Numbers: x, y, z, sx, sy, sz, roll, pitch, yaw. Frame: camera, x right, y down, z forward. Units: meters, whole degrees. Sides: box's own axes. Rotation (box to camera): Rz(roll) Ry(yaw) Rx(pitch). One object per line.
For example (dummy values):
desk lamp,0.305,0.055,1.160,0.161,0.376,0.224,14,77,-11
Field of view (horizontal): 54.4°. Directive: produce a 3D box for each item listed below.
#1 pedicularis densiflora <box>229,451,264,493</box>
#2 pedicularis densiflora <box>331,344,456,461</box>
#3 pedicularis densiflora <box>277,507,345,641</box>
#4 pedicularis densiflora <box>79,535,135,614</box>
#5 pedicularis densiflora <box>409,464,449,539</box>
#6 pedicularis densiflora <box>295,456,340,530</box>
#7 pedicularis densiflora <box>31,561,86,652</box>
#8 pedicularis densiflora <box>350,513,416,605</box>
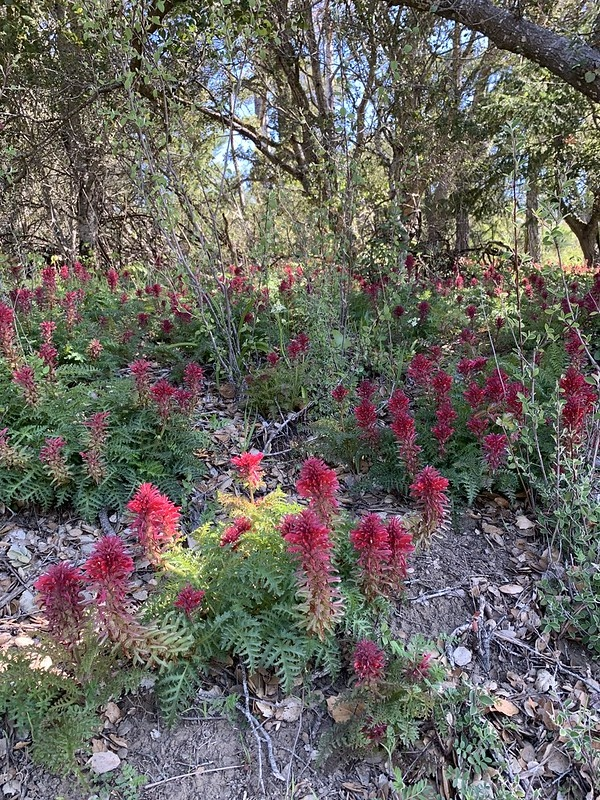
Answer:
pedicularis densiflora,-0.214,0.307,2.430,0.106,0.215,0.203,-2,12,-6
pedicularis densiflora,0.507,0.020,3.229,0.576,0.414,0.470,-20,22,5
pedicularis densiflora,0.037,0.598,2.042,0.213,0.527,0.279,-1,12,0
pedicularis densiflora,-0.628,0.562,1.923,0.142,0.269,0.149,-5,13,-21
pedicularis densiflora,0.530,0.421,2.396,0.192,0.382,0.183,1,39,7
pedicularis densiflora,0.077,0.332,2.139,0.156,0.254,0.150,-7,-11,-44
pedicularis densiflora,-0.782,0.670,1.935,0.141,0.334,0.195,-6,13,-22
pedicularis densiflora,0.281,0.575,2.125,0.218,0.397,0.186,-3,12,-12
